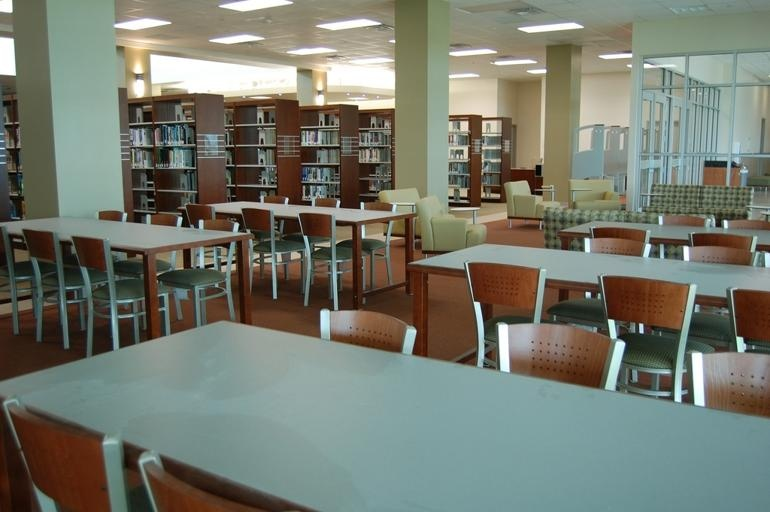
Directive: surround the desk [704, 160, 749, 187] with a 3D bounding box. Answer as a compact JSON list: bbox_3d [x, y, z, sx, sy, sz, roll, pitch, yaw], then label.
[{"bbox_3d":[5.856,-1.393,10.152,0.450,0.622,0.627,-5,8,-24],"label":"desk"}]
